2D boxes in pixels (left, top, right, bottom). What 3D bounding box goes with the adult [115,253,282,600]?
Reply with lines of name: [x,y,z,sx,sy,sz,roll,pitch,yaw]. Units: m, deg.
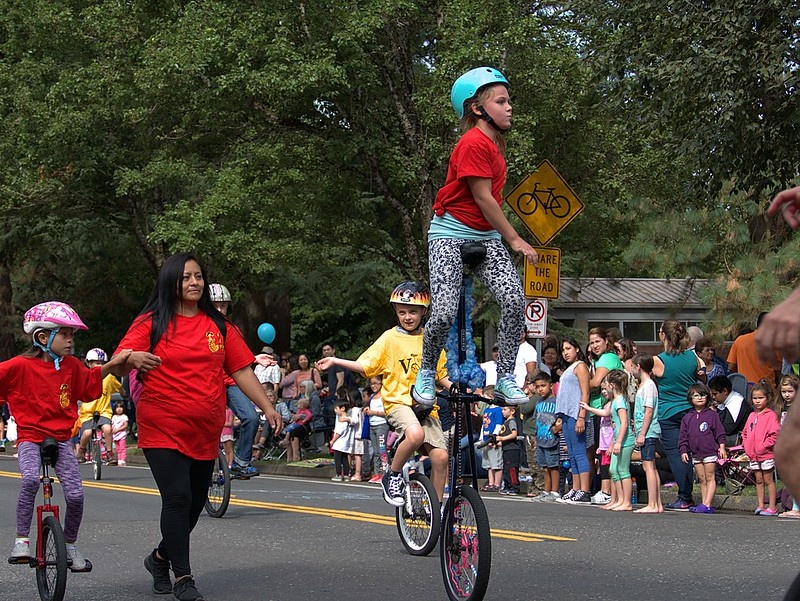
adult: [-1.749,0.969,8.518,1.089,2.741,0.496,4,-5,-8]

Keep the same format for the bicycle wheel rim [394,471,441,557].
bicycle wheel rim: [0.182,2.041,10.221,0.344,0.708,0.734,-8,10,-31]

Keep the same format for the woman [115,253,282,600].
woman: [-1.752,0.969,8.517,1.083,2.741,0.497,4,-5,-8]

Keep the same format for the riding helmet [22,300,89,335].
riding helmet: [-3.049,0.148,9.316,0.501,0.233,0.359,-3,-6,0]
